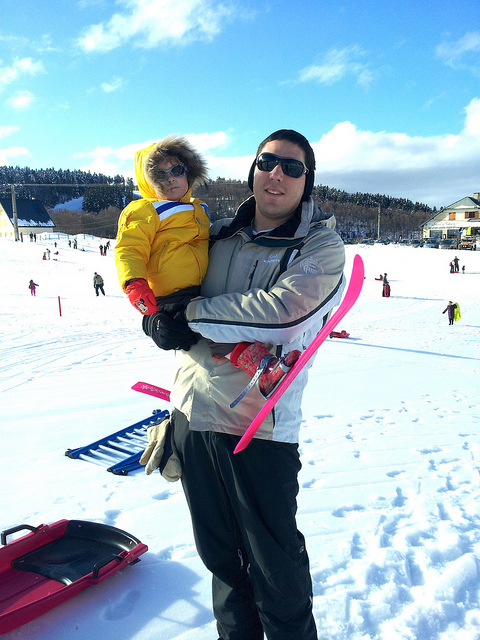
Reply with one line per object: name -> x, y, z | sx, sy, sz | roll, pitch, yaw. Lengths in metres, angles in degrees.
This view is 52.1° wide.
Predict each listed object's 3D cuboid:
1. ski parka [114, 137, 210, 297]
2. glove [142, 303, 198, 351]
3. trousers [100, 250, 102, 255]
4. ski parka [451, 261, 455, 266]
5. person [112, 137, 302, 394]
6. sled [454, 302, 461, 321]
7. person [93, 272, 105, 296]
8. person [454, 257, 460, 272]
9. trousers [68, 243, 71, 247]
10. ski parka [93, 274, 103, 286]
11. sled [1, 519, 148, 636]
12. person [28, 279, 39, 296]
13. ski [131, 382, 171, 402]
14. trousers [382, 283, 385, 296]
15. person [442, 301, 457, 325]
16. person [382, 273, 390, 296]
ski parka -> -0.410, -0.555, 2.944 | 0.424, 1.041, 0.795 | -5, -3, 45
glove -> -0.327, -0.002, 2.495 | 0.347, 0.216, 0.212 | 7, 16, 34
trousers -> -13.409, -6.488, 47.421 | 0.119, 0.418, 0.541 | -4, 8, -14
ski parka -> 15.939, -4.184, 36.547 | 0.119, 0.444, 0.477 | 7, 10, 44
person -> -0.134, -0.331, 2.817 | 1.134, 1.388, 0.807 | 0, 2, 23
sled -> 9.265, -0.305, 20.854 | 0.108, 0.997, 0.856 | 3, 4, 33
person -> -8.051, -2.005, 27.949 | 0.530, 1.252, 1.367 | -4, 8, -17
person -> 15.617, -3.907, 35.256 | 0.308, 0.985, 1.378 | 1, 8, 24
trousers -> -19.259, -8.396, 55.346 | 0.163, 0.440, 0.336 | 6, -18, -23
ski parka -> -8.074, -2.231, 27.752 | 0.376, 0.483, 0.511 | -6, 8, -27
sled -> -1.339, 1.719, 3.557 | 0.800, 0.281, 1.036 | 5, 10, 44
person -> -11.346, -1.699, 26.733 | 0.255, 0.855, 1.806 | -5, 8, -23
ski -> -0.539, 0.413, 2.988 | 0.106, 0.026, 0.399 | -19, 21, -32
trousers -> 8.268, -1.687, 28.182 | 0.095, 0.680, 0.617 | 0, 8, 15
person -> 8.557, -0.279, 19.780 | 0.326, 0.939, 1.048 | 2, 8, 31
person -> 8.418, -2.008, 28.380 | 0.281, 1.258, 1.171 | 0, 8, 16
